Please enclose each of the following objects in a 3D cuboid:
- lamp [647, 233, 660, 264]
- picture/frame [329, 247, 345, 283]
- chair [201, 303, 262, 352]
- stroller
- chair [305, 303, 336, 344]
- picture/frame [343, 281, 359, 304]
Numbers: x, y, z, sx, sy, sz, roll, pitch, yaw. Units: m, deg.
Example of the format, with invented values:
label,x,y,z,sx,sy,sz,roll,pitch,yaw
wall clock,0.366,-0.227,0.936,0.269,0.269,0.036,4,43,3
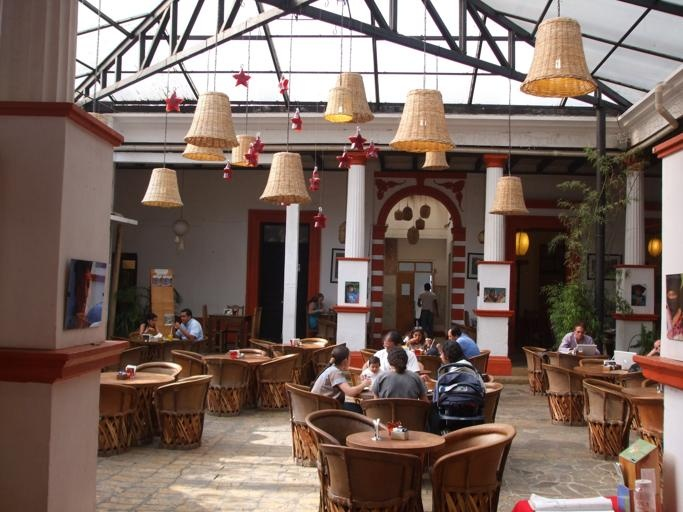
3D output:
label,x,y,z,sx,sy,sz,roll,pitch,yaw
lamp,7.100,-0.200,16.162,0.269,0.558,1.209,2,2,23
picture/frame,-0.102,0.215,16.819,0.319,0.832,0.139,1,2,3
chair,-2.533,1.692,16.154,1.045,1.632,1.117,-1,-1,10
stroller,1.108,1.430,7.212,0.459,0.699,0.689,-1,-19,2
chair,-0.417,1.356,15.751,0.659,1.037,0.619,0,0,-35
picture/frame,0.202,0.692,13.469,0.355,0.571,0.052,0,-8,0
